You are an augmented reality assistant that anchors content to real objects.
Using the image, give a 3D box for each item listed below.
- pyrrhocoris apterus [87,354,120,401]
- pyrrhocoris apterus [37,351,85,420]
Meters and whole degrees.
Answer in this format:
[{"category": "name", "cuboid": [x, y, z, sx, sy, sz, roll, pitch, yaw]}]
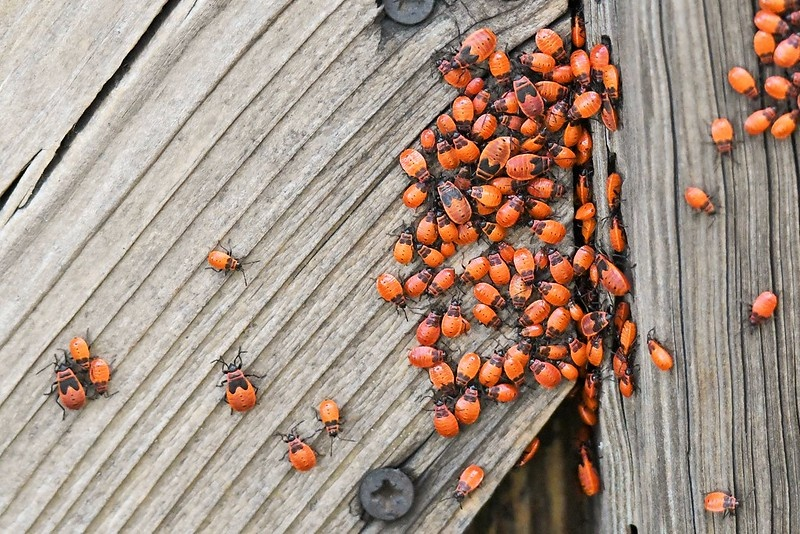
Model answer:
[{"category": "pyrrhocoris apterus", "cuboid": [-2.114, 0.790, 7.348, 0.207, 0.280, 0.102, 8, -7, -16]}, {"category": "pyrrhocoris apterus", "cuboid": [-2.357, 0.827, 7.234, 0.295, 0.385, 0.106, -13, 6, 9]}]
